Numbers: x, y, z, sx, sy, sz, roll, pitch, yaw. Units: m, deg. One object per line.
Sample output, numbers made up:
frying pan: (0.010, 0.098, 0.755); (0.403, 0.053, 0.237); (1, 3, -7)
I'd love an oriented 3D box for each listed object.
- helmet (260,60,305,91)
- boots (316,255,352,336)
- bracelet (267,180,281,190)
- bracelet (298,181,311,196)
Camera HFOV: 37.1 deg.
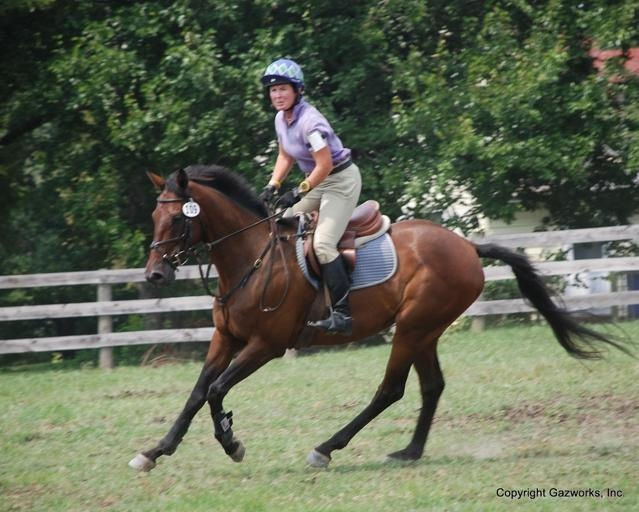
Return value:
helmet: (-0.369, -1.914, 10.188); (0.449, 0.201, 0.311); (-4, 3, -29)
boots: (0.140, 0.398, 10.045); (0.327, 0.792, 0.351); (-4, 10, 7)
bracelet: (-0.527, -0.781, 10.504); (0.121, 0.068, 0.117); (4, 4, 37)
bracelet: (-0.158, -0.702, 10.006); (0.115, 0.126, 0.047); (22, 6, 24)
